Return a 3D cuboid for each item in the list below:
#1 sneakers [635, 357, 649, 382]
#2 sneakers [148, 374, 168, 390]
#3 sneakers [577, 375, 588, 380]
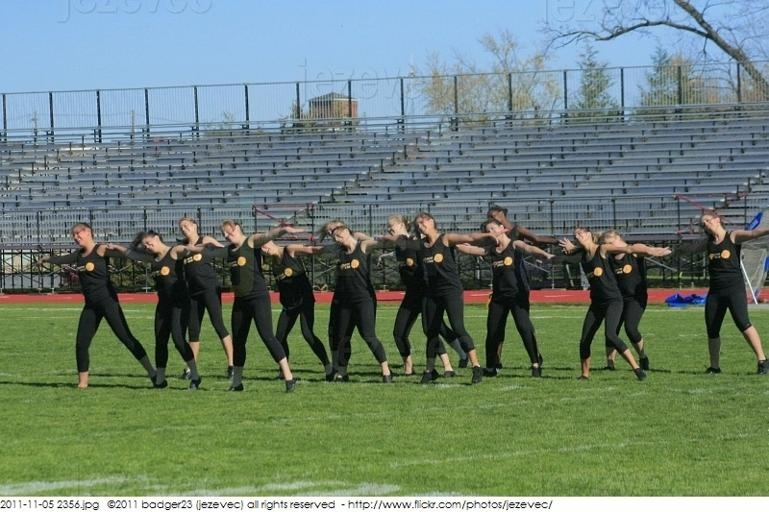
[{"bbox_3d":[5.552,2.480,33.070,0.234,0.264,0.677,-12,16,21],"label":"sneakers"},{"bbox_3d":[-4.910,2.714,32.938,0.333,0.277,0.299,-3,1,-6],"label":"sneakers"},{"bbox_3d":[4.333,2.636,33.036,0.261,0.094,0.260,-2,1,6],"label":"sneakers"}]
